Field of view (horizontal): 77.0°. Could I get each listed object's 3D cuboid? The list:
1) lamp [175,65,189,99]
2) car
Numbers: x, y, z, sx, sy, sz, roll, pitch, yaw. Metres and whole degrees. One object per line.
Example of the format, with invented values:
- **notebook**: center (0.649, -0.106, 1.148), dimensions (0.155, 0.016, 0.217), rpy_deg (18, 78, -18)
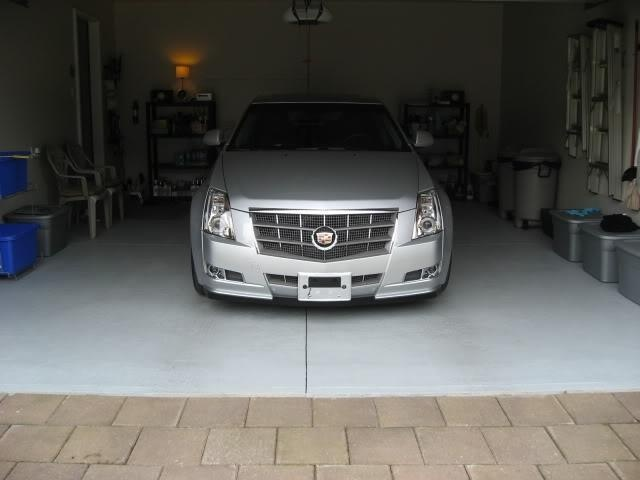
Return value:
- **lamp**: center (-2.761, -3.184, 8.116), dimensions (0.283, 0.688, 0.546), rpy_deg (-6, 18, -17)
- **car**: center (0.055, -0.488, 3.794), dimensions (1.442, 1.001, 2.370), rpy_deg (0, 15, 0)
